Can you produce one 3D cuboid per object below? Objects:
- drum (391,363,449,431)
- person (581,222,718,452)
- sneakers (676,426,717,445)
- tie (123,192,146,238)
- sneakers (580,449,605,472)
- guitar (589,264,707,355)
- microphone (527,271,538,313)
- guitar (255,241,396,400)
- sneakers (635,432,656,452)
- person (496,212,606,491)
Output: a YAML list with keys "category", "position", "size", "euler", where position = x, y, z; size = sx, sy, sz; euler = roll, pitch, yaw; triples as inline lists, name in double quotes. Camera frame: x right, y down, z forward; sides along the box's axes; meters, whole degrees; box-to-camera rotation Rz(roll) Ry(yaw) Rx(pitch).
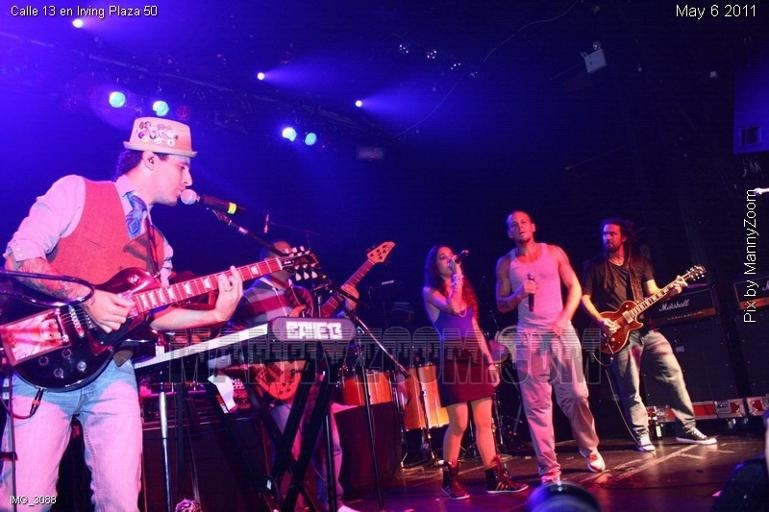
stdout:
- category: "drum"
  position: [0.435, 1.822, 7.618]
  size: [0.818, 0.869, 0.802]
  euler: [-5, -4, -43]
- category: "person"
  position: [3.179, 0.961, 7.051]
  size: [1.324, 3.071, 0.814]
  euler: [-10, 12, 35]
- category: "sneakers"
  position: [3.602, 2.132, 6.818]
  size: [0.178, 0.186, 0.453]
  euler: [1, -17, -40]
- category: "tie"
  position: [-1.833, -0.307, 4.273]
  size: [0.089, 0.294, 0.174]
  euler: [0, 7, 39]
- category: "sneakers"
  position: [2.135, 2.096, 5.923]
  size: [0.178, 0.223, 0.212]
  euler: [-11, -14, 16]
- category: "guitar"
  position: [3.253, 0.698, 7.234]
  size: [1.119, 0.402, 0.153]
  euler: [-35, -10, -5]
- category: "microphone"
  position: [1.490, 0.386, 5.861]
  size: [0.086, 0.377, 0.082]
  euler: [-2, -2, 29]
- category: "guitar"
  position: [-0.694, 0.605, 6.161]
  size: [0.204, 0.790, 2.090]
  euler: [-9, 34, 44]
- category: "sneakers"
  position: [3.000, 2.162, 6.711]
  size: [0.192, 0.202, 0.285]
  euler: [-13, -15, 22]
- category: "person"
  position: [1.634, 0.857, 5.942]
  size: [0.836, 2.756, 0.547]
  euler: [-9, -13, 10]
